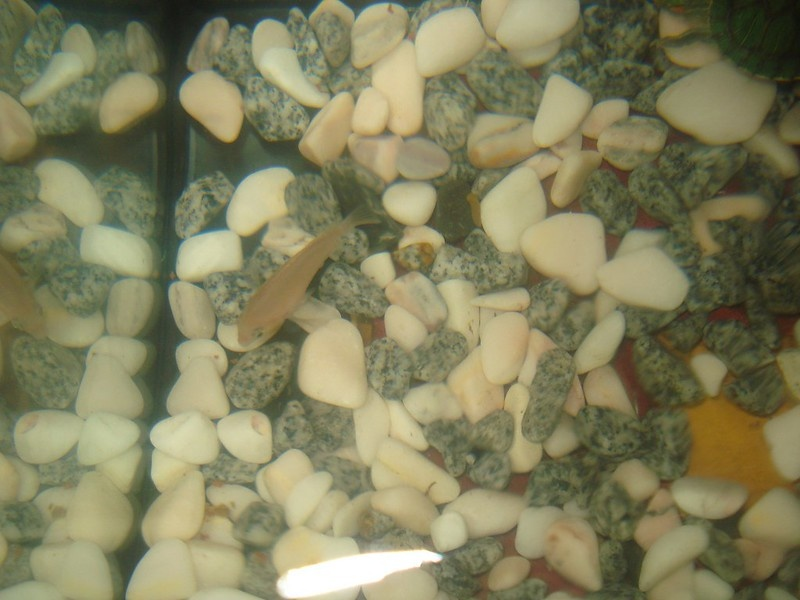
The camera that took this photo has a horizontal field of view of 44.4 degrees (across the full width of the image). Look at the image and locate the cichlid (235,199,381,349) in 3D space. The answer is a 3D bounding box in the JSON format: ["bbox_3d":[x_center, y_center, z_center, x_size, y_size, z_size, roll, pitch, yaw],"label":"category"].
[{"bbox_3d":[-0.196,-0.020,1.850,0.297,0.111,0.058,-49,45,-13],"label":"cichlid"}]
